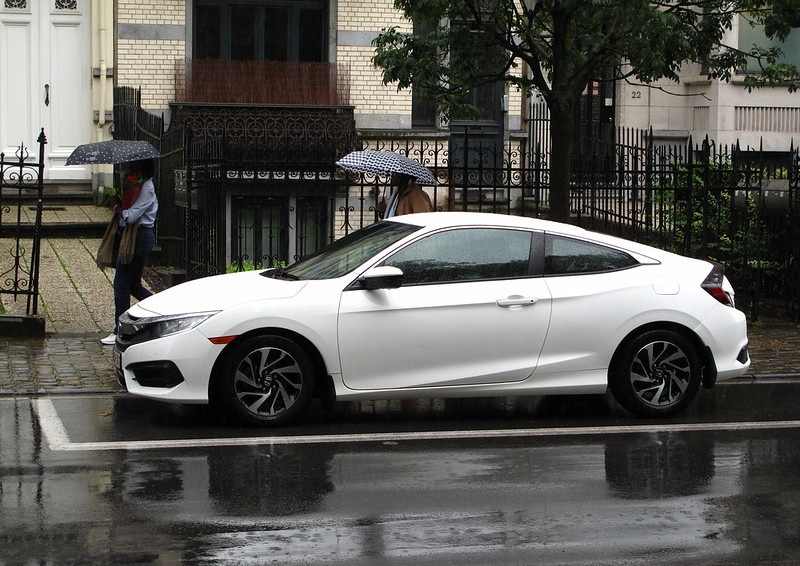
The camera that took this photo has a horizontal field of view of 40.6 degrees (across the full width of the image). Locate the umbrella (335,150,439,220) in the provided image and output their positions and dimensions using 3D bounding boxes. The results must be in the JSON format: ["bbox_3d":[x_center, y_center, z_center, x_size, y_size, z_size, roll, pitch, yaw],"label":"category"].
[{"bbox_3d":[-0.141,-1.275,13.046,0.967,0.679,0.995,9,-1,36],"label":"umbrella"}]

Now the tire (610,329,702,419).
[{"bbox_3d":[2.467,0.847,10.489,0.712,0.852,0.280,1,7,-7],"label":"tire"}]

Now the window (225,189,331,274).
[{"bbox_3d":[-2.086,-0.715,17.569,1.304,1.675,0.079,-3,-22,-3],"label":"window"}]

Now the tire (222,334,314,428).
[{"bbox_3d":[-1.227,0.866,9.943,0.704,0.845,0.256,0,8,-5],"label":"tire"}]

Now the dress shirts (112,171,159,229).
[{"bbox_3d":[-3.049,-0.957,12.893,0.319,0.631,0.628,4,0,-17],"label":"dress shirts"}]

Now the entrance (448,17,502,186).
[{"bbox_3d":[1.536,-3.318,22.194,1.137,3.080,0.394,0,-20,6],"label":"entrance"}]
